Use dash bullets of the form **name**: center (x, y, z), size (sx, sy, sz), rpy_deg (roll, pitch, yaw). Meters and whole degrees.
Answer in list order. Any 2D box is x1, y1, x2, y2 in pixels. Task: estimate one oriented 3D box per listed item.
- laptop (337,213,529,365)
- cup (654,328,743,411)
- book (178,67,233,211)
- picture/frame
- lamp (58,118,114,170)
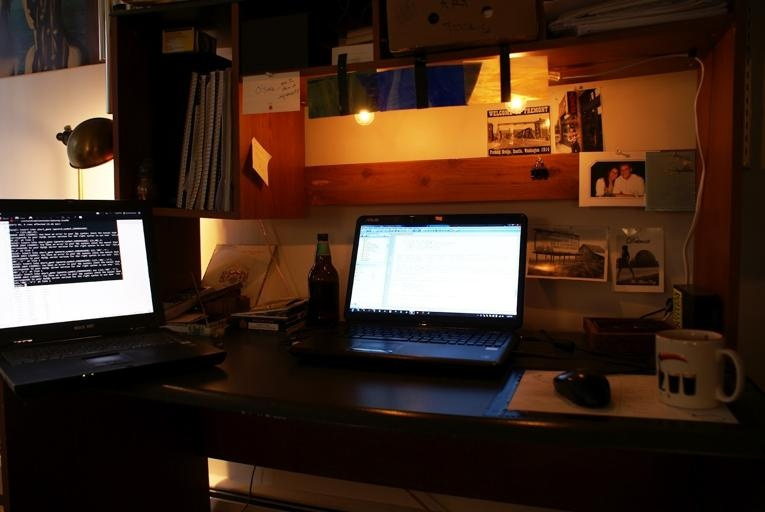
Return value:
- **laptop**: center (0.163, 0.072, 1.779), size (0.548, 0.390, 0.343), rpy_deg (3, 6, 17)
- **cup**: center (0.689, 0.249, 1.332), size (0.204, 0.142, 0.133), rpy_deg (0, 5, 38)
- **book**: center (-0.549, -0.363, 1.890), size (0.131, 0.395, 0.311), rpy_deg (3, 2, -22)
- **picture/frame**: center (0.705, -0.238, 1.804), size (0.182, 0.130, 0.019), rpy_deg (-1, 3, 8)
- **lamp**: center (-1.023, -0.404, 2.092), size (0.219, 0.160, 0.164), rpy_deg (6, 16, 4)
